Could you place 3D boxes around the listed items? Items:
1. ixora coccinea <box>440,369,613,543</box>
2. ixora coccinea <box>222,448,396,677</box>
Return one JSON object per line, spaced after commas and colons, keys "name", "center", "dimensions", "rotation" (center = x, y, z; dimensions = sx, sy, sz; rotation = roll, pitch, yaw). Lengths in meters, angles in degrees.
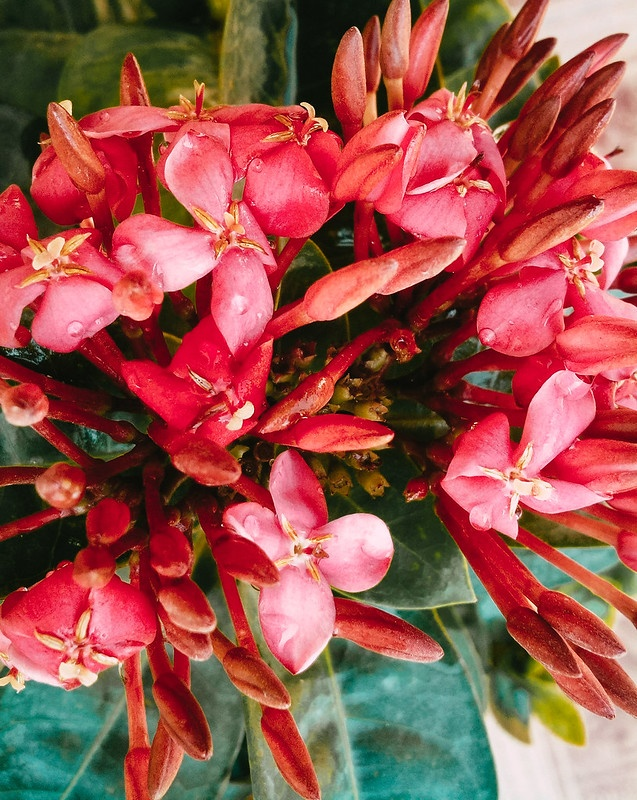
{"name": "ixora coccinea", "center": [0.157, 0.044, 0.598], "dimensions": [0.124, 0.071, 0.091], "rotation": [-32, 72, -18]}
{"name": "ixora coccinea", "center": [-0.026, 0.118, 0.662], "dimensions": [0.147, 0.079, 0.147], "rotation": [-11, 93, -28]}
